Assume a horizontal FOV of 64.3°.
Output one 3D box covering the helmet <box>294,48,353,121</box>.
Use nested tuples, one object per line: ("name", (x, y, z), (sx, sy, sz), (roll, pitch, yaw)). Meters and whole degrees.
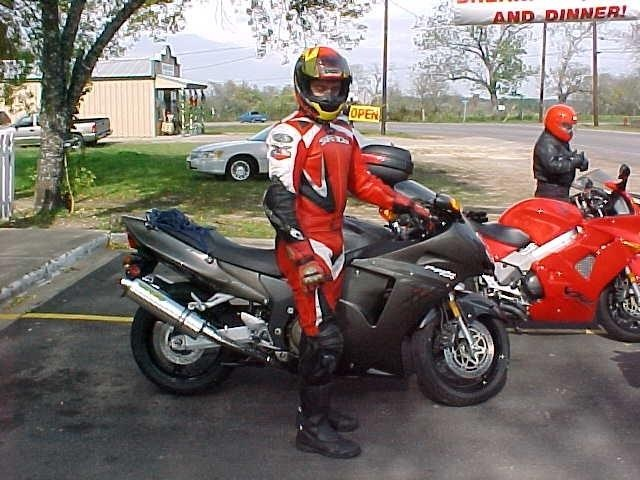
("helmet", (0.000, -1.011, 3.270), (0.385, 0.483, 0.261), (2, 13, 5))

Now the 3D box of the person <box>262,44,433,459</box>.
("person", (0.047, 0.068, 3.407), (0.768, 2.659, 0.851), (8, 15, 27))

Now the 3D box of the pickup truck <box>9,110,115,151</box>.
("pickup truck", (-15.568, -6.372, 29.603), (6.587, 1.656, 2.859), (0, 19, 3))

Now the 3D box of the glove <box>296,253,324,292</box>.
("glove", (-0.051, 0.200, 3.054), (0.181, 0.179, 0.083), (-15, -9, -12))

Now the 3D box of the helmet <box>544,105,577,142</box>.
("helmet", (2.888, -1.419, 6.157), (0.330, 0.456, 0.324), (5, 13, 18))
